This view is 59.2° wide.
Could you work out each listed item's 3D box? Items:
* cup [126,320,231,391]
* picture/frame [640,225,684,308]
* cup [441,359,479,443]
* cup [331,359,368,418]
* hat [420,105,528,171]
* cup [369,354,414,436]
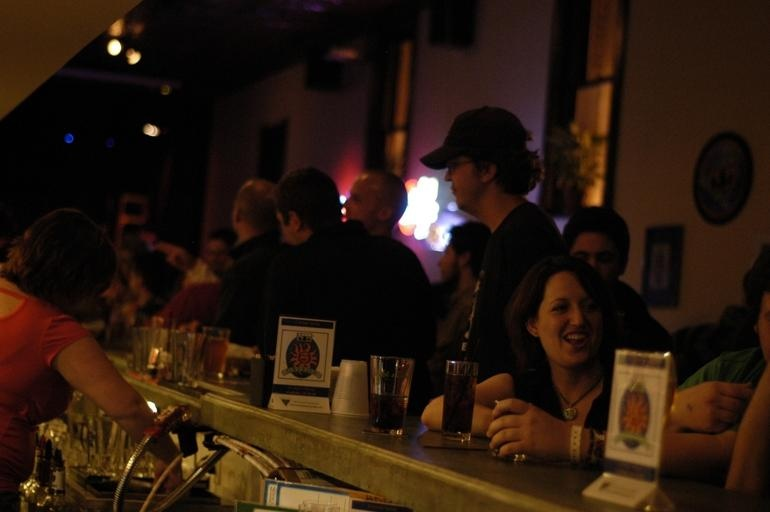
[{"bbox_3d":[-1.004,0.464,3.211,0.368,0.232,0.313,1,-7,10],"label":"cup"},{"bbox_3d":[1.481,0.039,3.628,0.190,0.413,0.020,1,-13,37],"label":"picture/frame"},{"bbox_3d":[0.218,0.421,1.988,0.093,0.229,0.163,4,-9,7],"label":"cup"},{"bbox_3d":[-0.134,0.467,2.446,0.171,0.179,0.165,3,-8,1],"label":"cup"},{"bbox_3d":[0.385,-0.510,2.814,0.458,0.255,0.327,-1,9,12],"label":"hat"},{"bbox_3d":[0.013,0.439,2.114,0.155,0.220,0.149,5,-14,1],"label":"cup"}]
